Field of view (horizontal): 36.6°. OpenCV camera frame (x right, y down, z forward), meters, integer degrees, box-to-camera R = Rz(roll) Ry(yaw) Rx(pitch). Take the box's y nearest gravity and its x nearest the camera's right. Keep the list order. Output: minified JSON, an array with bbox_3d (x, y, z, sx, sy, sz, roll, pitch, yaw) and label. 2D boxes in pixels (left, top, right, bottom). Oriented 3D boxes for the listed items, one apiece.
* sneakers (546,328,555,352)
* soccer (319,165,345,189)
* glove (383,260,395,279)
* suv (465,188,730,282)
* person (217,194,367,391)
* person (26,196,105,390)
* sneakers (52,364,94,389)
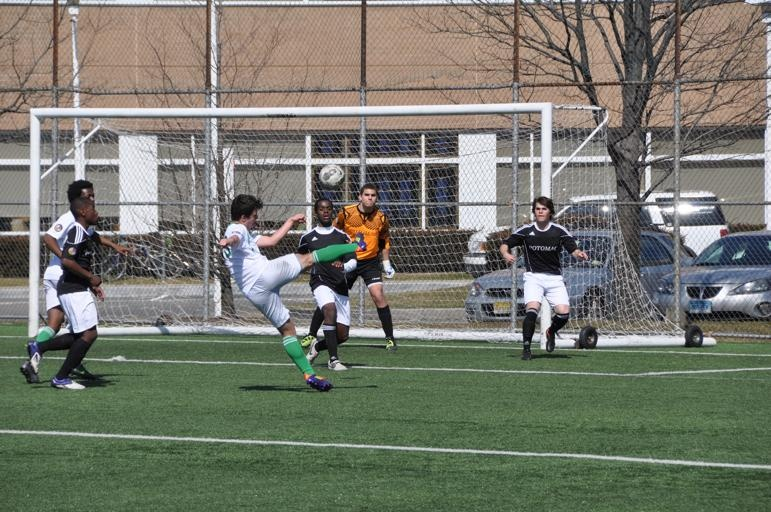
[{"bbox_3d":[2.677,1.343,18.707,0.154,0.361,0.168,-4,9,-11],"label":"sneakers"},{"bbox_3d":[-1.059,-1.524,22.347,0.477,0.324,0.458,-7,13,-11],"label":"soccer"},{"bbox_3d":[0.026,0.213,19.031,0.187,0.286,0.124,-30,-39,6],"label":"glove"},{"bbox_3d":[5.057,-0.871,27.265,5.250,1.598,2.581,4,26,39],"label":"suv"},{"bbox_3d":[-1.415,0.513,15.534,1.499,2.304,0.625,-2,-1,-6],"label":"person"},{"bbox_3d":[-4.419,0.496,16.055,0.989,2.181,0.719,-2,-1,-13],"label":"person"},{"bbox_3d":[-4.292,1.709,16.140,0.620,0.241,0.207,-2,13,-22],"label":"sneakers"}]
